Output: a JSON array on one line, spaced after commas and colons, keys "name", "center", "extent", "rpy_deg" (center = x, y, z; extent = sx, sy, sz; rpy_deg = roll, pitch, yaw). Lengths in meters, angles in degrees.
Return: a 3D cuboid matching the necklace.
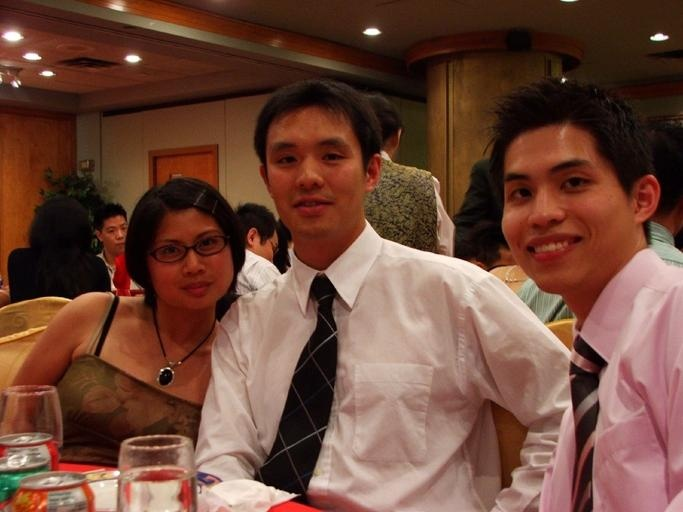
[{"name": "necklace", "center": [-0.620, 0.331, 2.031], "extent": [0.204, 0.432, 0.015], "rpy_deg": [20, 23, -19]}]
